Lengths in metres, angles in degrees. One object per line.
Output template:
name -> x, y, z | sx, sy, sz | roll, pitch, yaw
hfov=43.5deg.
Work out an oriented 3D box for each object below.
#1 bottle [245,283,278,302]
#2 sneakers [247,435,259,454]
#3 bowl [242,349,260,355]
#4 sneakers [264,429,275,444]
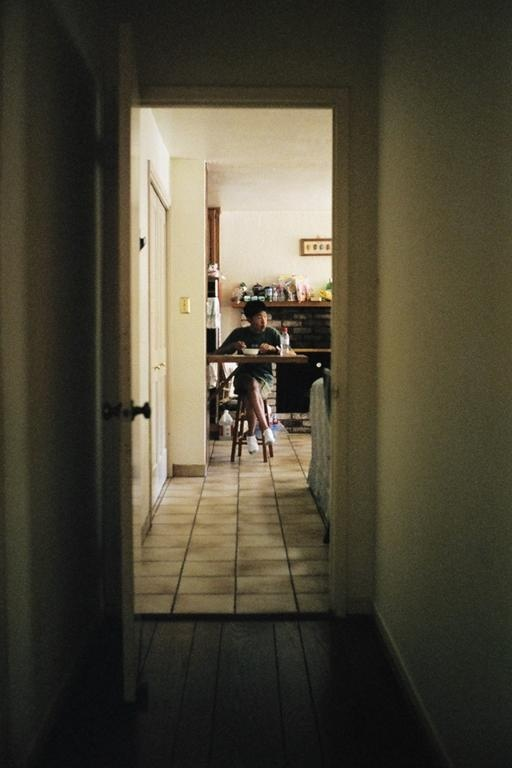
bottle -> 0.042, -0.907, 6.368 | 0.326, 0.190, 0.191 | -1, 4, 2
sneakers -> -0.037, 0.438, 4.686 | 0.065, 0.138, 0.095 | -1, 4, -5
bowl -> -0.043, -0.221, 4.424 | 0.105, 0.051, 0.102 | -1, 4, 0
sneakers -> 0.091, 0.380, 4.650 | 0.057, 0.129, 0.203 | 0, 4, 13
